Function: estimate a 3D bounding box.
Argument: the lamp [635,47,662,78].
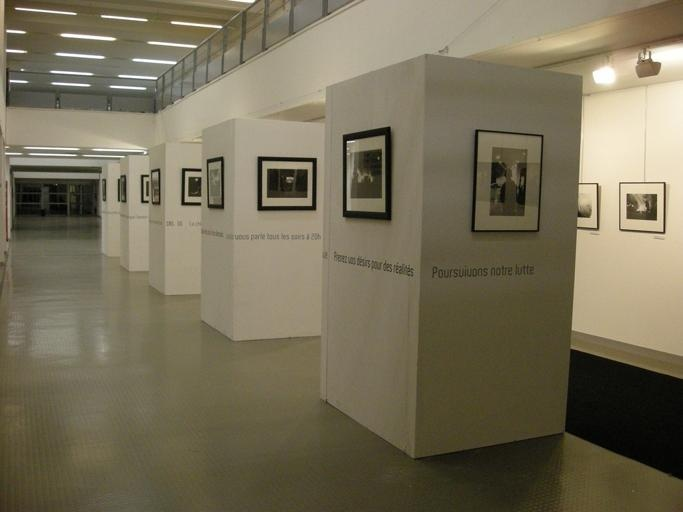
[{"bbox_3d":[4.001,-2.556,6.997,0.285,0.323,0.239,5,7,39],"label":"lamp"}]
